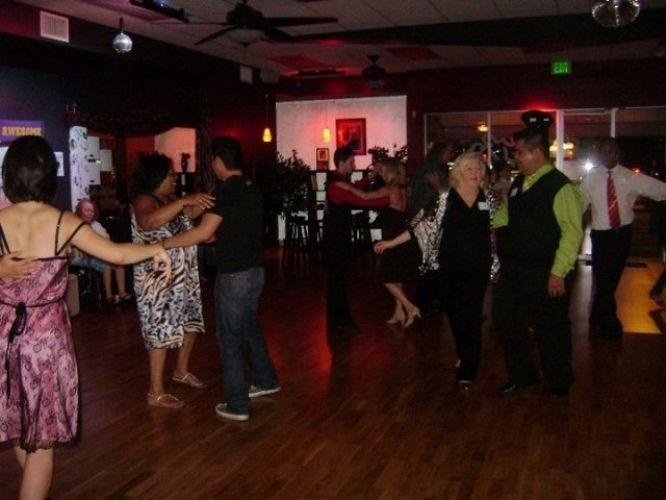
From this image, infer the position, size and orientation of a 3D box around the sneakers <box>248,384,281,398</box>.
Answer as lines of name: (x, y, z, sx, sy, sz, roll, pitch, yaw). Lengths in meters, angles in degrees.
sneakers: (-0.527, 1.062, 3.764, 0.263, 0.108, 0.096, 1, 1, -8)

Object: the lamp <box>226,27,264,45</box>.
lamp: (-0.987, -2.391, 5.546, 0.381, 0.096, 0.530, -3, 7, -18)

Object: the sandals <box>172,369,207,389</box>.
sandals: (-1.171, 1.046, 4.009, 0.238, 0.097, 0.129, 7, 1, 3)

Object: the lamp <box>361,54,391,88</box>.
lamp: (0.830, -3.746, 10.224, 0.634, 0.805, 0.626, 0, -4, -2)

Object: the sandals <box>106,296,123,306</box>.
sandals: (-3.041, 0.710, 6.827, 0.095, 0.065, 0.252, 2, -4, 4)

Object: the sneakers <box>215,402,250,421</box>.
sneakers: (-0.704, 1.119, 3.451, 0.233, 0.089, 0.101, 7, 6, 39)

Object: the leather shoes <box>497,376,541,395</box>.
leather shoes: (1.407, 1.019, 3.808, 0.358, 0.146, 0.132, -3, 3, -18)

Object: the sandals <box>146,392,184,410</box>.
sandals: (-1.243, 1.102, 3.623, 0.240, 0.076, 0.114, 1, 3, 4)

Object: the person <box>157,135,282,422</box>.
person: (-0.718, 0.201, 3.369, 0.491, 1.925, 0.749, 0, 7, 7)

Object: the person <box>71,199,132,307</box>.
person: (-3.357, 0.039, 6.995, 0.911, 1.539, 0.572, 10, 18, 26)
